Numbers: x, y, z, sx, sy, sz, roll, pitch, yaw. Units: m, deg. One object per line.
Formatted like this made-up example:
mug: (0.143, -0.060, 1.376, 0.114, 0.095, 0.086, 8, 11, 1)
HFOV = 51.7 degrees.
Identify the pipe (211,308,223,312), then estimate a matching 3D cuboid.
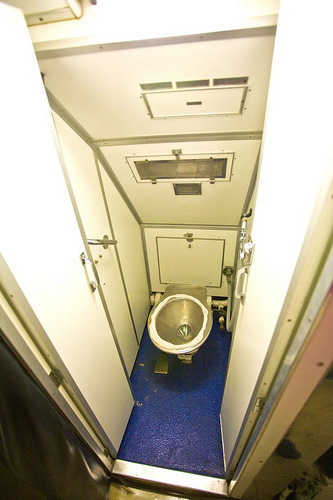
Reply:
pipe: (0.347, 0.438, 2.462, 0.098, 0.014, 0.025, 3, -7, -13)

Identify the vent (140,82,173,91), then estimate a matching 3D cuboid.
vent: (-0.033, -0.543, 1.136, 0.127, 0.019, 0.030, 0, 0, 0)

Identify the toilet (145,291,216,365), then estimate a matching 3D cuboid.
toilet: (0.089, 0.443, 1.961, 0.326, 0.292, 0.434, 4, 48, 14)

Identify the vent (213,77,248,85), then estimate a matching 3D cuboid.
vent: (0.205, -0.543, 1.108, 0.107, 0.027, 0.013, -3, 35, 8)

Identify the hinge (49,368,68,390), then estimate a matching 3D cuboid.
hinge: (-0.334, 0.401, 1.079, 0.059, 0.058, 0.016, 13, 34, 37)

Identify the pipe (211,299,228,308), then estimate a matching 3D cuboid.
pipe: (0.350, 0.358, 2.301, 0.086, 0.036, 0.053, 0, 62, 1)

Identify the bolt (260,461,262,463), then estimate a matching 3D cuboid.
bolt: (0.299, 0.681, 1.096, 0.005, 0.013, 0.001, -5, 35, 5)

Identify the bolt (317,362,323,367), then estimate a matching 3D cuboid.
bolt: (0.352, 0.264, 0.790, 0.009, 0.012, 0.003, 5, 6, 16)
